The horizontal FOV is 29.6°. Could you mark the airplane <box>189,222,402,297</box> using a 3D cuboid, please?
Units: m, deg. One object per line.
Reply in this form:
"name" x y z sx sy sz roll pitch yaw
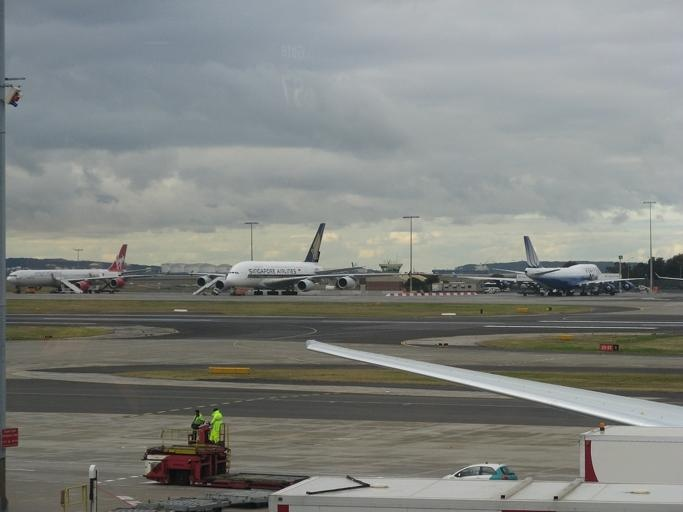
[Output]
"airplane" -8.233 1.212 157.306 30.071 7.207 24.986 0 3 26
